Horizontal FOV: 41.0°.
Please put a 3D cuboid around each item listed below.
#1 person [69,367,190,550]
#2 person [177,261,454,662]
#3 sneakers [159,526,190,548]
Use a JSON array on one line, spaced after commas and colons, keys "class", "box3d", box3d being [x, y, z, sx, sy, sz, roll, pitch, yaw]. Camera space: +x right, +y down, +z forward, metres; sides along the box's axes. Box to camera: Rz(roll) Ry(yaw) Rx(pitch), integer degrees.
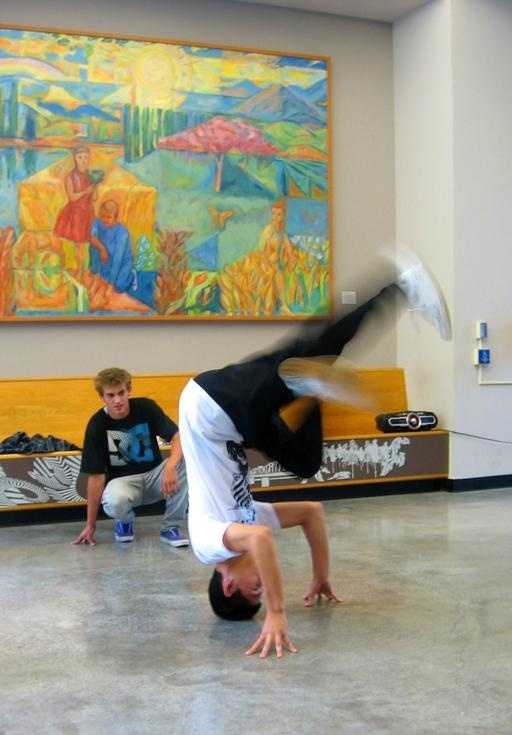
[{"class": "person", "box3d": [-0.672, 0.509, 3.869, 0.785, 1.020, 0.532, 2, 6, 26]}, {"class": "person", "box3d": [0.137, 0.295, 2.091, 0.760, 1.197, 0.416, 4, 7, 45]}, {"class": "sneakers", "box3d": [-0.444, 0.930, 3.781, 0.070, 0.070, 0.186, 0, 8, -30]}]
